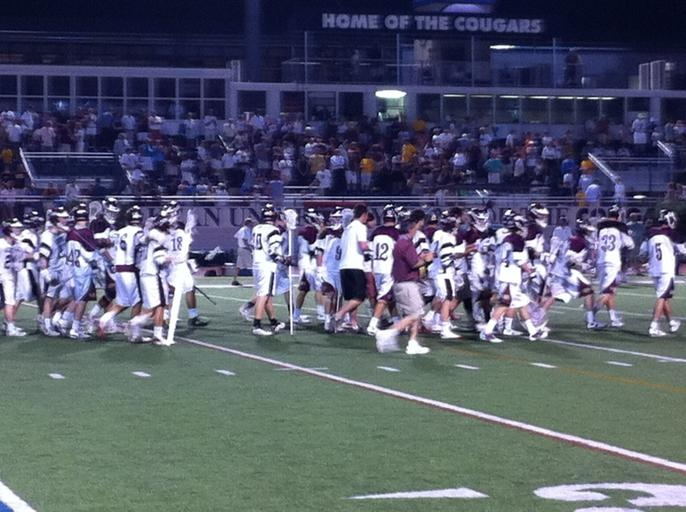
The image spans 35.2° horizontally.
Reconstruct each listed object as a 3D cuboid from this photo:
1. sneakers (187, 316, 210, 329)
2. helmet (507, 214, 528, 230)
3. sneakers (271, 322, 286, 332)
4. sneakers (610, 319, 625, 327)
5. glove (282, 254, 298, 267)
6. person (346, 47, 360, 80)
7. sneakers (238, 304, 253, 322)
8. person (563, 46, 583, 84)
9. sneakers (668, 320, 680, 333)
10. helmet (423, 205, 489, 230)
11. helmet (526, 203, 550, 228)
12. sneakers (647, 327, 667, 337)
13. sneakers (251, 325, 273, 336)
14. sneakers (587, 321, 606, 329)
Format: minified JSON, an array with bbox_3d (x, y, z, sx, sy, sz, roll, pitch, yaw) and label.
[{"bbox_3d":[-2.518,1.172,18.910,0.337,0.214,0.166,-6,18,-16],"label":"sneakers"},{"bbox_3d":[2.797,-0.526,17.298,0.187,0.270,0.526,4,9,28],"label":"helmet"},{"bbox_3d":[-1.052,1.173,17.838,0.100,0.116,0.291,8,18,25],"label":"sneakers"},{"bbox_3d":[4.735,1.177,18.759,0.128,0.149,0.381,2,6,40],"label":"sneakers"},{"bbox_3d":[-0.912,0.085,18.610,0.165,0.197,0.652,12,2,9],"label":"glove"},{"bbox_3d":[0.382,-6.522,36.855,0.446,1.022,0.213,2,7,10],"label":"person"},{"bbox_3d":[-1.758,1.049,19.577,0.421,0.190,0.145,42,15,34],"label":"sneakers"},{"bbox_3d":[8.205,-6.692,38.603,0.268,1.367,0.974,7,10,44],"label":"person"},{"bbox_3d":[5.509,1.165,18.085,0.126,0.164,0.378,-16,12,33],"label":"sneakers"},{"bbox_3d":[2.031,-0.658,18.129,0.728,0.357,0.551,-3,4,3],"label":"helmet"},{"bbox_3d":[3.126,-0.634,17.526,0.305,0.404,0.665,1,8,9],"label":"helmet"},{"bbox_3d":[5.136,1.259,17.762,0.359,0.156,0.115,-3,8,-20],"label":"sneakers"},{"bbox_3d":[-1.353,1.230,17.727,0.452,0.177,0.146,2,2,-1],"label":"sneakers"},{"bbox_3d":[4.338,1.201,18.568,0.338,0.130,0.129,-3,4,-4],"label":"sneakers"}]
